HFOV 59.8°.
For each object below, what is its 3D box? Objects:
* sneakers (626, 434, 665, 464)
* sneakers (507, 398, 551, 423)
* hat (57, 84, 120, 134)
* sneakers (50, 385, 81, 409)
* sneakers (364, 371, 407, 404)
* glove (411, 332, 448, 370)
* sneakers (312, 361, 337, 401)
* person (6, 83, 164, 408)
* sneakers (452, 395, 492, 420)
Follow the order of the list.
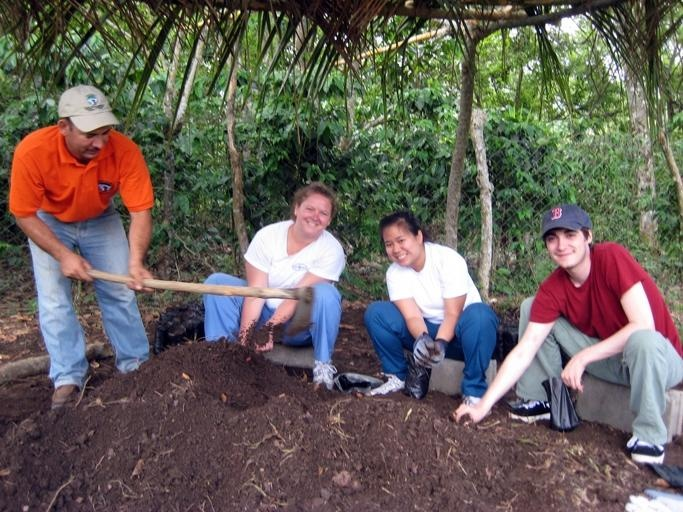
[{"bbox_3d":[1.782,1.125,3.456,0.211,0.146,0.146,3,4,23],"label":"sneakers"},{"bbox_3d":[1.223,1.011,3.909,0.280,0.162,0.115,5,-2,-4],"label":"sneakers"},{"bbox_3d":[-1.527,-0.924,3.563,0.335,0.212,0.243,22,29,35],"label":"hat"},{"bbox_3d":[-1.767,0.926,3.784,0.130,0.085,0.192,-3,16,3],"label":"sneakers"},{"bbox_3d":[0.283,0.918,4.160,0.329,0.176,0.117,-5,1,-29],"label":"sneakers"},{"bbox_3d":[0.577,0.595,3.932,0.166,0.250,0.218,-12,-4,24],"label":"glove"},{"bbox_3d":[-0.118,0.812,4.003,0.141,0.183,0.362,1,3,-3],"label":"sneakers"},{"bbox_3d":[-1.687,-0.062,3.911,0.851,2.022,0.738,0,3,-20],"label":"person"},{"bbox_3d":[0.822,0.946,3.703,0.073,0.094,0.158,43,30,20],"label":"sneakers"}]
